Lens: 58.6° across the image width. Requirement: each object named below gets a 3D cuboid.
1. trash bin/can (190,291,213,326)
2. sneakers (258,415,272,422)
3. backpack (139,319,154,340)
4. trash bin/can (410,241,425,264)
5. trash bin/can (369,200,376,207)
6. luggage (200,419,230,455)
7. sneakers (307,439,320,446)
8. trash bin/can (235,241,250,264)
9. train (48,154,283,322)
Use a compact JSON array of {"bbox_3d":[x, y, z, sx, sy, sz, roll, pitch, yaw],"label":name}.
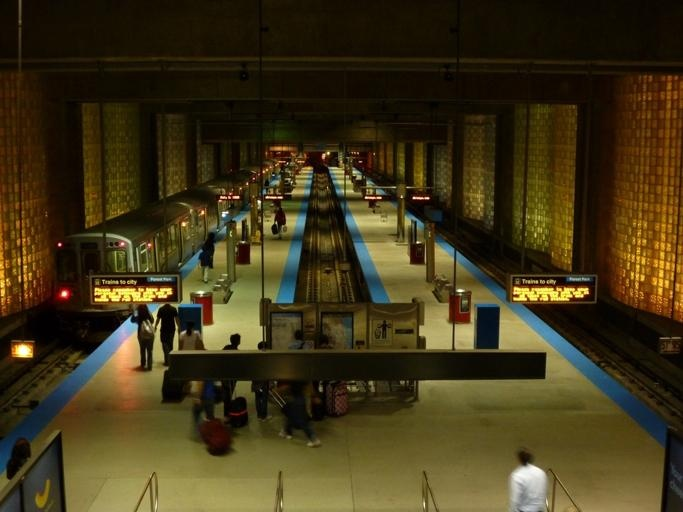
[{"bbox_3d":[-3.380,1.261,14.631,0.579,0.589,0.743,-10,-75,-43],"label":"trash bin/can"},{"bbox_3d":[-1.311,2.749,10.450,0.229,0.076,0.105,-8,-62,-35],"label":"sneakers"},{"bbox_3d":[-3.941,1.456,12.405,0.263,0.406,0.348,-10,-68,1],"label":"backpack"},{"bbox_3d":[2.922,-0.097,23.169,0.678,1.241,0.728,-7,-90,3],"label":"trash bin/can"},{"bbox_3d":[2.049,-3.634,41.227,0.344,0.725,0.724,3,-81,11],"label":"trash bin/can"},{"bbox_3d":[-1.945,2.757,9.278,0.317,0.484,0.287,-12,-48,-32],"label":"luggage"},{"bbox_3d":[-0.452,2.902,9.576,0.197,0.090,0.102,3,-86,19],"label":"sneakers"},{"bbox_3d":[-3.805,-0.147,23.746,0.641,0.717,1.061,-1,-84,-25],"label":"trash bin/can"},{"bbox_3d":[-6.342,-1.204,25.910,2.153,21.492,3.303,1,-79,6],"label":"train"}]
